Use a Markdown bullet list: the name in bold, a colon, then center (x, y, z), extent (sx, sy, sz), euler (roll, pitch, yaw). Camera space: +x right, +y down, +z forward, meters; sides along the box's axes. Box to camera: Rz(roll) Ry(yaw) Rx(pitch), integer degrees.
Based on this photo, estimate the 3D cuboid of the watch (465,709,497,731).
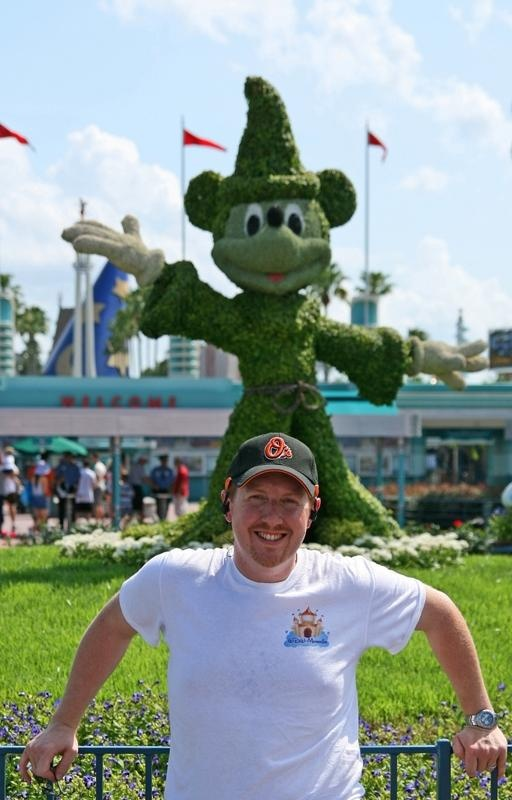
- **watch**: center (1.092, 1.582, 9.497), extent (0.097, 0.074, 0.097), euler (6, -13, -36)
